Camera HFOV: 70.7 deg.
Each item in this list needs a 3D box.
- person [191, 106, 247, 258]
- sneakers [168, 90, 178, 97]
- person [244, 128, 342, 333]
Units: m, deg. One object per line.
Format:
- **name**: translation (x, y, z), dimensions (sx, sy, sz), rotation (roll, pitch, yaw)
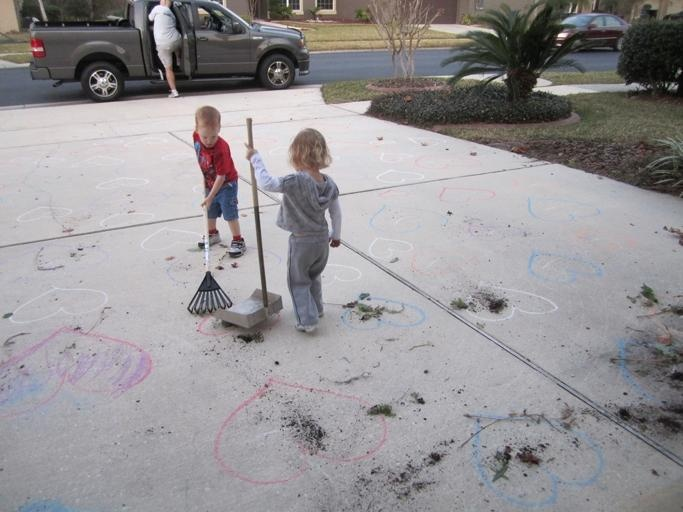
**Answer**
- **person**: translation (-1.130, -0.646, 4.241), dimensions (0.414, 1.309, 0.664), rotation (-7, 28, -10)
- **sneakers**: translation (-3.791, -3.671, 10.875), dimensions (0.123, 0.136, 0.299), rotation (-13, 25, -27)
- **person**: translation (-0.265, -0.179, 3.385), dimensions (0.534, 1.387, 0.504), rotation (-21, 33, -32)
